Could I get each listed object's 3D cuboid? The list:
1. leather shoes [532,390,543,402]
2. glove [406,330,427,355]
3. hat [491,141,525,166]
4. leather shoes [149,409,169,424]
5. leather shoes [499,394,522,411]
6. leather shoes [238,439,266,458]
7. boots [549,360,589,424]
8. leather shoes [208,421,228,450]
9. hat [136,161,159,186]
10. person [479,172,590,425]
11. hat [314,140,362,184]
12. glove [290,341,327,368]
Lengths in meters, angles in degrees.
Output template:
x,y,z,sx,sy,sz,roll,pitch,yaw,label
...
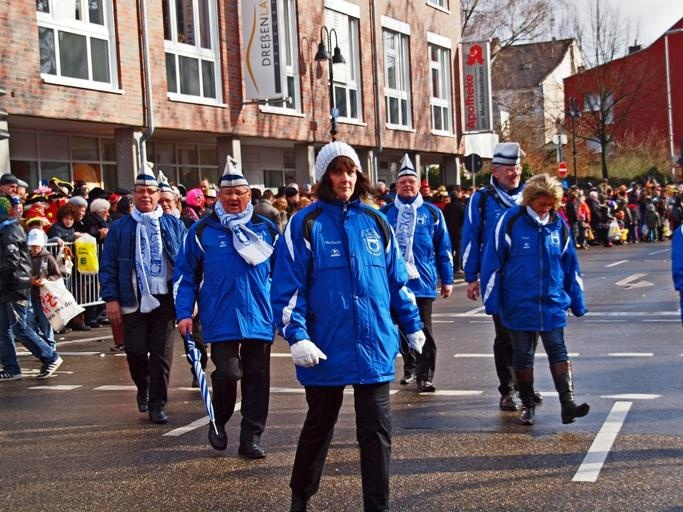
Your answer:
x,y,z,sx,sy,sz,roll,pitch,yaw,label
2.079,1.491,10.285,0.114,0.134,0.308,-2,-9,9,leather shoes
0.591,0.675,7.628,0.174,0.181,0.068,19,20,12,glove
1.763,-1.100,10.331,0.228,0.179,0.331,-1,6,-11,hat
-1.875,1.632,9.887,0.181,0.135,0.187,-3,5,-11,leather shoes
1.750,1.541,10.129,0.118,0.127,0.271,2,-8,-6,leather shoes
-0.830,1.769,8.863,0.285,0.147,0.113,-2,-2,35,leather shoes
2.186,1.319,9.283,0.213,0.568,0.488,-3,5,-5,boots
-1.133,1.622,8.840,0.137,0.293,0.157,-4,5,-20,leather shoes
-2.088,-0.856,10.404,0.314,0.339,0.345,-1,3,-5,hat
1.906,0.422,9.557,0.955,2.433,0.790,-2,5,13,person
-0.048,-0.781,7.514,0.330,0.324,0.301,-8,-37,-13,hat
-0.246,0.728,7.216,0.242,0.242,0.220,-2,5,11,glove
